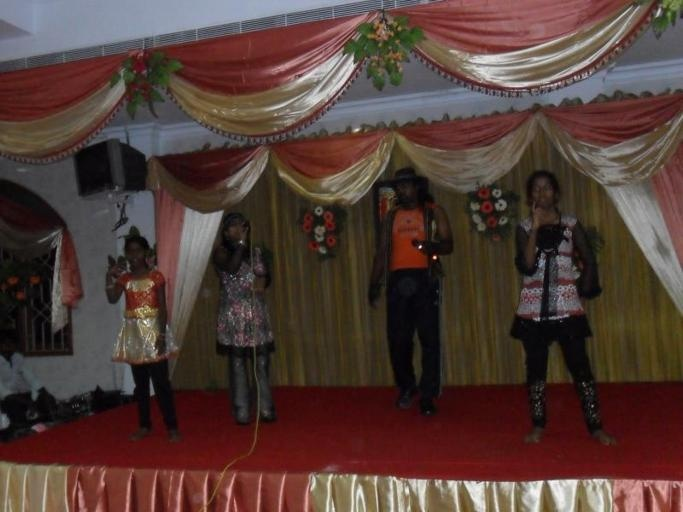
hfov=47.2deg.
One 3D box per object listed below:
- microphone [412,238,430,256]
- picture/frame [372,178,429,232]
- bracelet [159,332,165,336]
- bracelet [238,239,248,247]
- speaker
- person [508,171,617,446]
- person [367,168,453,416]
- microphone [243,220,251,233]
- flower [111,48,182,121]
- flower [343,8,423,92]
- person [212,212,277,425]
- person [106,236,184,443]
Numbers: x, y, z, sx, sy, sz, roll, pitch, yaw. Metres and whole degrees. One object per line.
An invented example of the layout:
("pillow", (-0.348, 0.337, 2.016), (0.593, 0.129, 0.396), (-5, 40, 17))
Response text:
("microphone", (0.667, -0.053, 6.233), (0.134, 0.137, 0.061), (-4, -4, 2))
("picture/frame", (0.605, -0.406, 7.349), (0.521, 0.717, 0.329), (-1, -2, 4))
("bracelet", (-1.339, 0.593, 5.859), (0.023, 0.020, 0.025), (-1, -10, 2))
("bracelet", (-0.763, -0.084, 6.118), (0.074, 0.060, 0.035), (-1, -5, -32))
("speaker", (-2.134, -0.746, 7.195), (0.610, 0.519, 0.455), (-3, 4, 32))
("person", (1.546, 0.352, 5.487), (0.633, 1.877, 0.343), (-4, -4, 14))
("person", (0.609, 0.282, 6.357), (0.363, 1.933, 0.656), (1, -6, -42))
("microphone", (-0.747, -0.220, 6.204), (0.058, 0.090, 0.028), (6, -13, -37))
("flower", (-1.356, -1.160, 5.416), (0.533, 0.453, 0.137), (-4, -4, 2))
("flower", (0.303, -1.296, 5.115), (0.531, 0.516, 0.151), (-4, -4, 0))
("person", (-0.757, 0.495, 6.180), (0.456, 1.621, 0.283), (-2, -4, -11))
("person", (-1.487, 0.615, 5.940), (0.551, 1.521, 0.252), (-4, -4, 16))
